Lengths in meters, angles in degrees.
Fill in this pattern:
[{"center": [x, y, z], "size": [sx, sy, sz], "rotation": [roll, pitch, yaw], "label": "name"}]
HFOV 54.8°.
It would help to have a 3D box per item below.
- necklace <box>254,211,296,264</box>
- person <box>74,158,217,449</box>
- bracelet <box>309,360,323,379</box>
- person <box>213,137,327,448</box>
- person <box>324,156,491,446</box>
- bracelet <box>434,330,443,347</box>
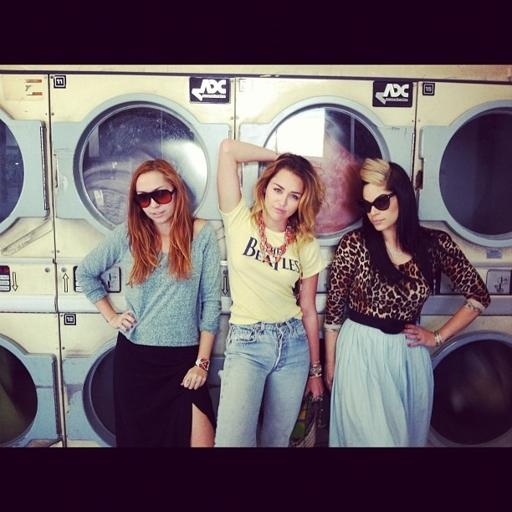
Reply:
[{"center": [0.077, -0.069, 2.034], "size": [0.160, 0.195, 0.048], "rotation": [0, 2, 2], "label": "necklace"}, {"center": [-0.480, 0.387, 2.245], "size": [0.566, 1.706, 0.349], "rotation": [3, 24, -3], "label": "person"}, {"center": [0.259, 0.507, 2.186], "size": [0.054, 0.065, 0.057], "rotation": [16, -32, -3], "label": "bracelet"}, {"center": [0.068, 0.183, 2.084], "size": [0.486, 1.318, 0.166], "rotation": [-1, 2, -22], "label": "person"}, {"center": [0.703, 0.418, 2.332], "size": [0.687, 1.860, 0.473], "rotation": [-4, 35, 9], "label": "person"}, {"center": [0.814, 0.368, 2.199], "size": [0.045, 0.054, 0.043], "rotation": [-21, 7, 1], "label": "bracelet"}]
